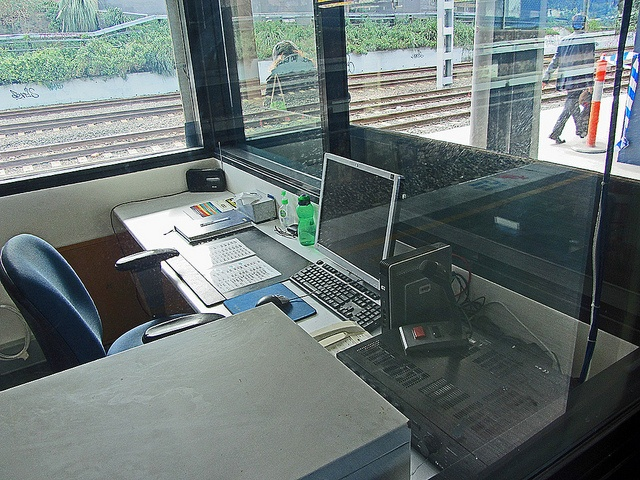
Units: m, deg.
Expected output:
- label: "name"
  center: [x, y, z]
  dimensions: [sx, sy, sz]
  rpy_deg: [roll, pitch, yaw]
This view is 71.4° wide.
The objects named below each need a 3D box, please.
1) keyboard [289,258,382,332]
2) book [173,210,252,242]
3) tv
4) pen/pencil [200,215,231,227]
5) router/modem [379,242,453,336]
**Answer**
- label: "keyboard"
  center: [0.076, 0.176, 1.527]
  dimensions: [0.172, 0.036, 0.460]
  rpy_deg: [-21, 30, -29]
- label: "book"
  center: [-0.514, -0.071, 2.172]
  dimensions: [0.331, 0.039, 0.257]
  rpy_deg: [-13, 22, -26]
- label: "tv"
  center: [0.127, -0.085, 1.546]
  dimensions: [0.159, 0.394, 0.580]
  rpy_deg: [-7, 25, -23]
- label: "pen/pencil"
  center: [-0.521, -0.101, 2.232]
  dimensions: [0.129, 0.020, 0.027]
  rpy_deg: [-17, 15, -11]
- label: "router/modem"
  center: [0.255, 0.132, 1.189]
  dimensions: [0.192, 0.166, 0.231]
  rpy_deg: [0, 28, 12]
